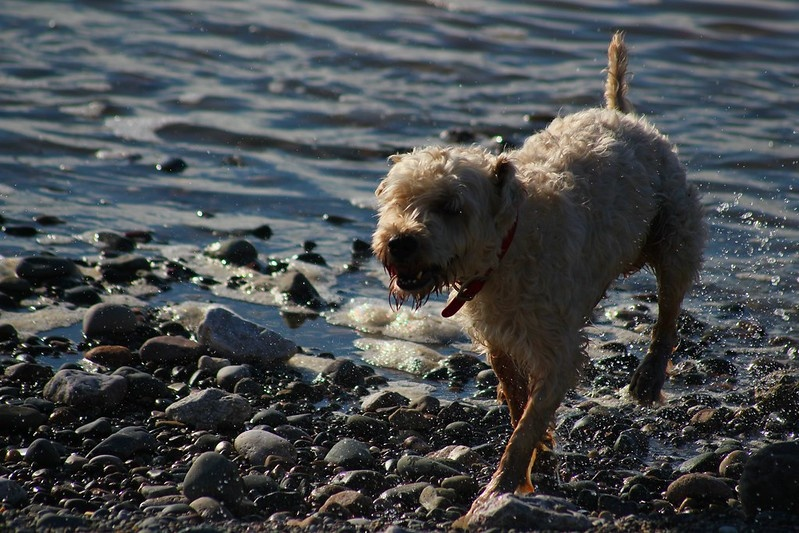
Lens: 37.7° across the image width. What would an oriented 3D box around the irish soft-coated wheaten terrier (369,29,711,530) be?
[{"bbox_3d":[1.870,0.052,14.535,2.131,4.945,6.516,4,11,33],"label":"irish soft-coated wheaten terrier"}]
